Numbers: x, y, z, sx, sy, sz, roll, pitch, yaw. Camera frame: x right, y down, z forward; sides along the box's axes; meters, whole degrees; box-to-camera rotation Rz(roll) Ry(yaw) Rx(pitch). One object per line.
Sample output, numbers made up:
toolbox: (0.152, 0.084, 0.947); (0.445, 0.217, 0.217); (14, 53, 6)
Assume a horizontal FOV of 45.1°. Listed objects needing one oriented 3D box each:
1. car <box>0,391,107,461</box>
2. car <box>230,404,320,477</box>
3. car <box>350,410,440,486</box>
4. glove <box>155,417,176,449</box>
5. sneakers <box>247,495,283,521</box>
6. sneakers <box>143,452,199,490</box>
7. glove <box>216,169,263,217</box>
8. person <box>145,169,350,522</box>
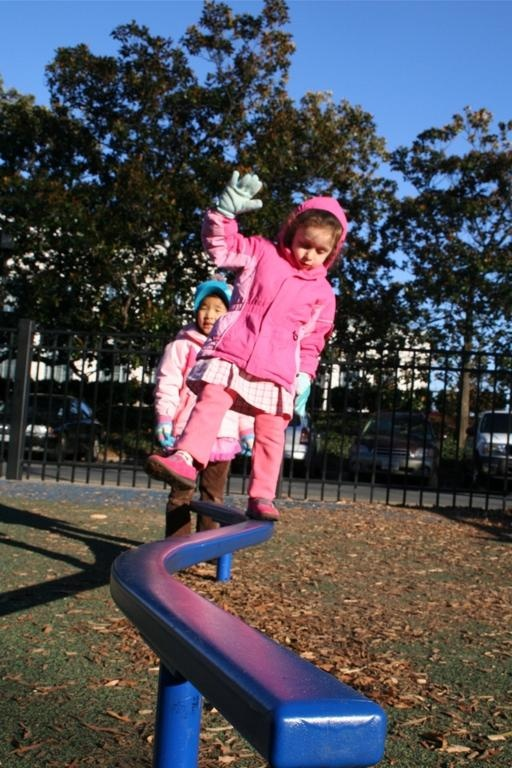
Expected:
car: (-3.113, 0.676, 9.363); (1.145, 0.979, 2.401); (-2, -12, 9)
car: (0.524, 1.060, 9.968); (0.996, 0.921, 2.139); (2, 2, 11)
car: (2.306, 0.940, 10.067); (1.437, 1.121, 2.407); (0, -10, 11)
glove: (-0.452, 0.253, 3.170); (0.051, 0.141, 0.109); (-14, -37, -4)
sneakers: (0.039, 0.528, 2.546); (0.066, 0.064, 0.170); (4, -8, -18)
sneakers: (-0.318, 0.337, 2.385); (0.089, 0.107, 0.226); (35, 3, 38)
glove: (-0.069, -0.793, 2.612); (0.181, 0.209, 0.062); (29, 9, -11)
person: (-0.009, -0.160, 2.679); (0.905, 1.439, 0.417); (6, -3, -25)
